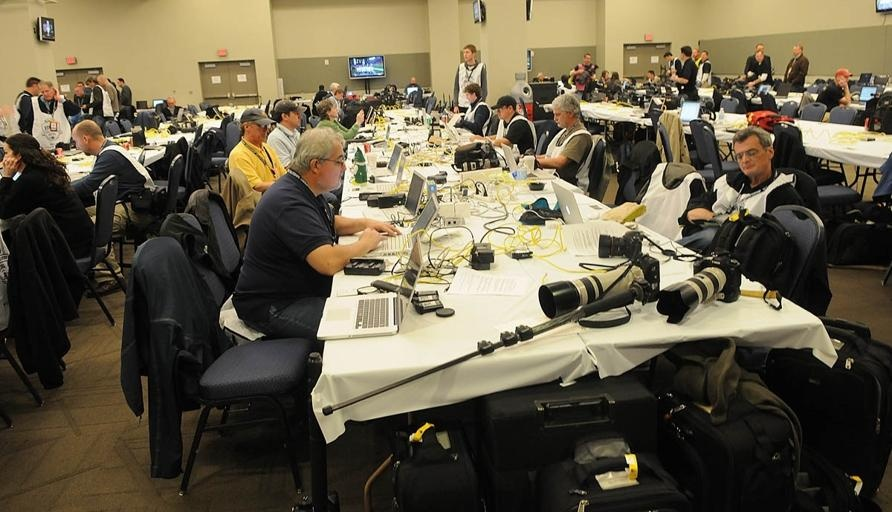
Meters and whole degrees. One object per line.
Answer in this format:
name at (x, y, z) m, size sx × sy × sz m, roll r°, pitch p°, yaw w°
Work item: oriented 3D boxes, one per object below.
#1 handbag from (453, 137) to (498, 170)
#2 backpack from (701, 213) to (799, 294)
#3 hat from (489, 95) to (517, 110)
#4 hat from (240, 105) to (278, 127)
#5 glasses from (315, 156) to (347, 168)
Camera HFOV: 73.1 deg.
handbag at (0.306, -1.005, 6.024) m, size 0.368 × 0.164 × 0.363 m, roll 12°, pitch 20°, yaw 43°
backpack at (2.036, -0.046, 3.981) m, size 0.355 × 0.456 × 0.321 m, roll -37°, pitch 26°, yaw -15°
hat at (0.705, -1.914, 7.590) m, size 0.370 × 0.203 × 0.247 m, roll 7°, pitch 21°, yaw 6°
hat at (-1.807, -1.345, 5.818) m, size 0.355 × 0.160 × 0.220 m, roll -3°, pitch 17°, yaw -20°
glasses at (-0.775, -0.661, 4.171) m, size 0.166 × 0.043 × 0.154 m, roll -6°, pitch 16°, yaw -15°
